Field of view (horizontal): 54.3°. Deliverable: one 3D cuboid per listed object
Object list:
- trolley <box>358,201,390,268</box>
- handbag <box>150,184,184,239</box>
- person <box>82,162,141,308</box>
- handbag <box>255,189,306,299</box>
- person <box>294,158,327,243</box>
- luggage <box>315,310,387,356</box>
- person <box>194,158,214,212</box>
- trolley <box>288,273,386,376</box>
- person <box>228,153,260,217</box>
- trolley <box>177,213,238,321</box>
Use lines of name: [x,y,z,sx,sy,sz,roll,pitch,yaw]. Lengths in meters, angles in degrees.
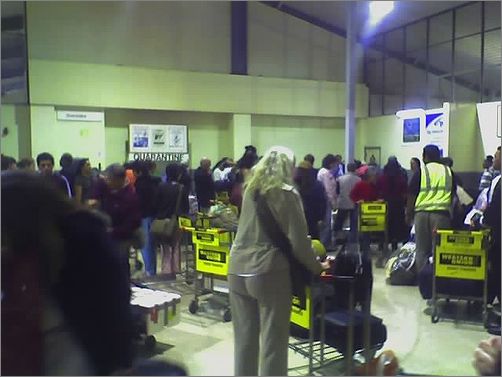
trolley: [2.337,0.742,9.414,0.596,1.200,0.684,2,12,20]
handbag: [-1.263,0.372,7.298,0.474,0.831,0.350,-1,4,-11]
person: [-1.737,0.427,6.488,0.981,0.808,2.516,2,26,-22]
handbag: [0.320,0.406,3.682,0.159,0.689,0.473,-24,20,-31]
person: [0.817,0.176,7.180,0.422,1.337,0.299,-5,-34,12]
luggage: [1.030,1.398,4.712,0.536,0.304,0.729,-1,-10,-3]
person: [-0.862,-0.048,8.909,0.348,0.948,1.405,-1,5,-7]
trolley: [0.826,1.203,4.733,0.863,1.117,0.982,1,-3,-42]
person: [-0.110,-0.028,5.910,0.357,1.096,0.335,-15,49,-12]
trolley: [-0.421,0.967,6.095,0.674,1.042,0.764,-3,-4,36]
